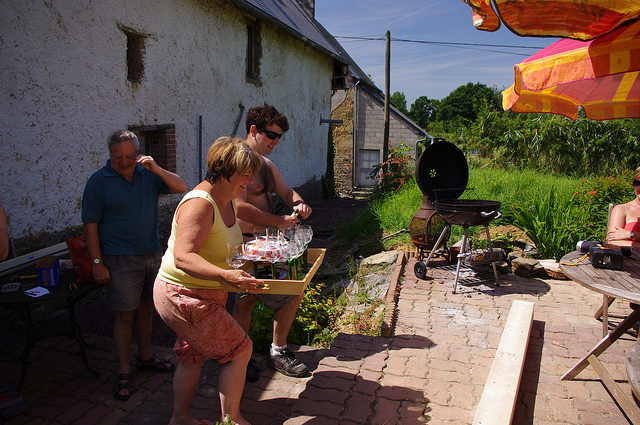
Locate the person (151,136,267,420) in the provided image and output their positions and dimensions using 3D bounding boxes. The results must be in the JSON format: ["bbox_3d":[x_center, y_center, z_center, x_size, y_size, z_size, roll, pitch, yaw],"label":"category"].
[{"bbox_3d":[-1.016,0.682,3.868,0.982,2.704,1.026,-5,12,-22],"label":"person"}]

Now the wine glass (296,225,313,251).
[{"bbox_3d":[-0.202,0.252,4.303,0.213,0.305,0.195,1,4,-14],"label":"wine glass"}]
